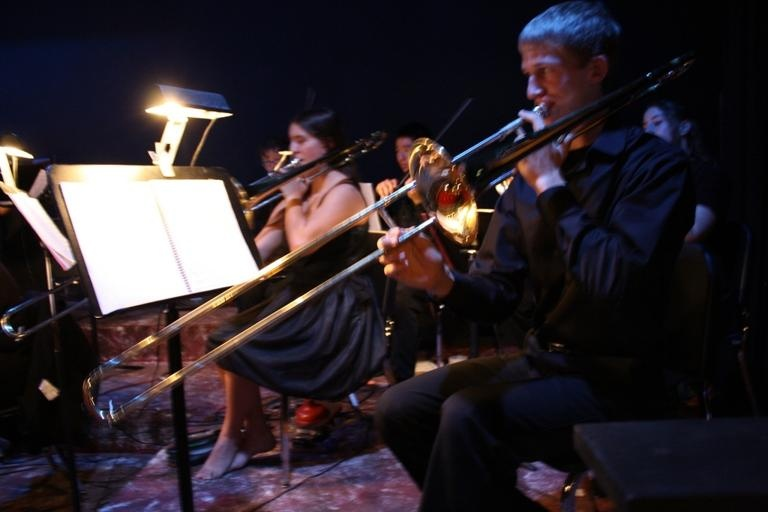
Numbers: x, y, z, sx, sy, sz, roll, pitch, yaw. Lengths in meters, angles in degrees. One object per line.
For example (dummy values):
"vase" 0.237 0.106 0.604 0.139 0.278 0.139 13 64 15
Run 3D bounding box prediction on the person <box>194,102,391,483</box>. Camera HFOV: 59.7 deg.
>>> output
"person" -0.419 0.127 3.627 1.065 1.767 1.019 0 13 -24

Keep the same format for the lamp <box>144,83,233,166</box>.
"lamp" -0.819 -0.548 2.827 0.341 0.289 0.244 2 -7 -27

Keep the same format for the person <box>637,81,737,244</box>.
"person" 1.716 -0.468 4.054 0.533 0.970 0.459 24 0 25
